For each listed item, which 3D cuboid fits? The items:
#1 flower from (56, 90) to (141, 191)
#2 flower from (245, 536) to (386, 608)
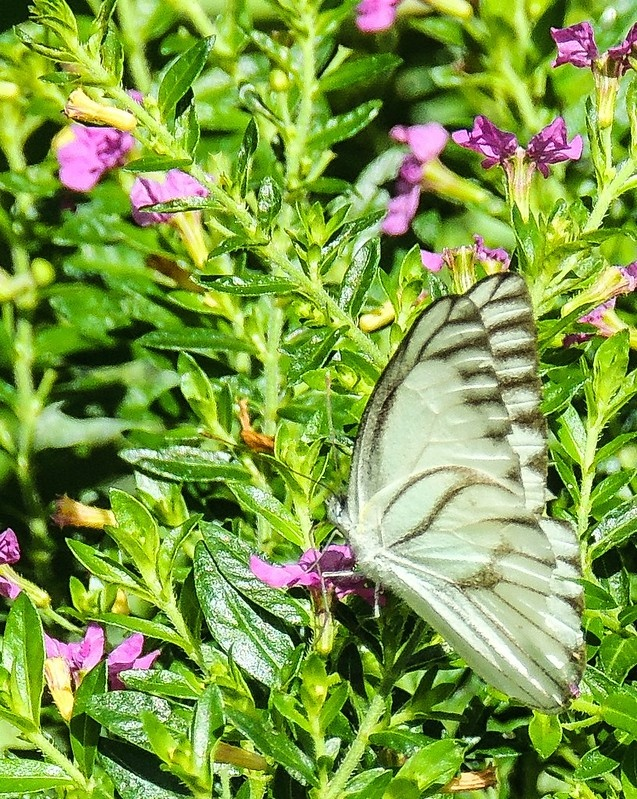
[{"bbox_3d":[-0.380,-0.395,1.988,0.145,0.114,0.104,23,74,11],"label":"flower"},{"bbox_3d":[-0.002,0.215,1.536,0.104,0.108,0.028,25,103,49],"label":"flower"}]
